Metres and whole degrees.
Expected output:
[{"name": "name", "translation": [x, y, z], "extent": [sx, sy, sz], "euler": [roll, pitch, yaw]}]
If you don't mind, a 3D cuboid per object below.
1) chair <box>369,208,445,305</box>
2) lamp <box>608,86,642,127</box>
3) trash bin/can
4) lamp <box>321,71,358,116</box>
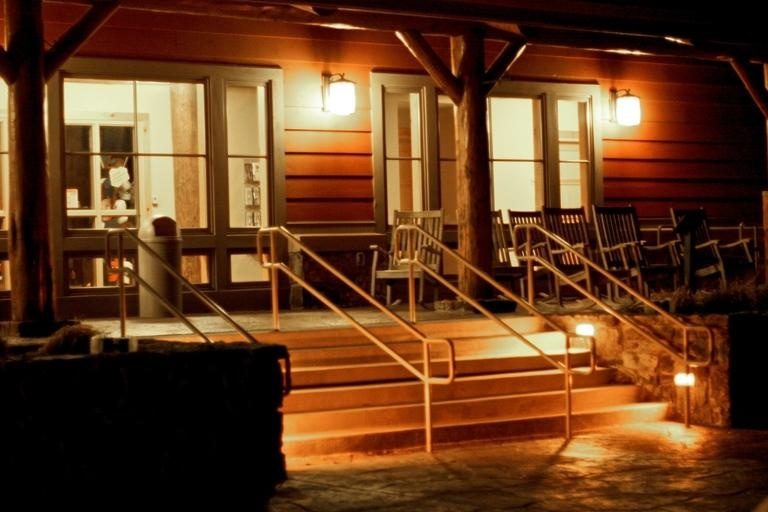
[{"name": "chair", "translation": [0.302, 0.098, 9.672], "extent": [0.782, 1.295, 0.866], "euler": [-1, 0, 23]}, {"name": "lamp", "translation": [3.629, -2.226, 11.576], "extent": [0.449, 0.581, 0.381], "euler": [-3, 0, -3]}, {"name": "trash bin/can", "translation": [-2.536, 0.137, 8.639], "extent": [0.521, 1.147, 0.446], "euler": [-3, 0, -4]}, {"name": "lamp", "translation": [-0.610, -2.156, 10.453], "extent": [0.516, 0.685, 0.532], "euler": [-1, 1, -34]}]
